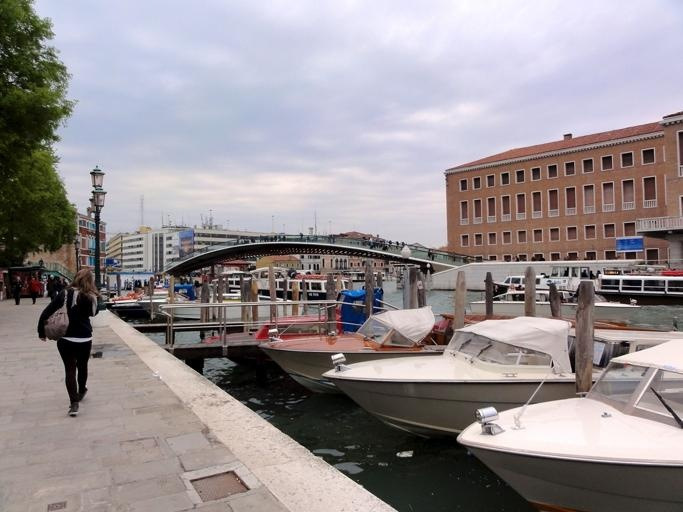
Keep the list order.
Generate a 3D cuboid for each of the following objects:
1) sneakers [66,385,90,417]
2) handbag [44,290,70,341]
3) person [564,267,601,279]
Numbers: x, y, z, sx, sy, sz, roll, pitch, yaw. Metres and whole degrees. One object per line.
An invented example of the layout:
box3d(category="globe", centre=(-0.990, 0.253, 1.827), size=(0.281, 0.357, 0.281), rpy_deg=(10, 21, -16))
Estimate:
box3d(category="sneakers", centre=(-3.821, 2.073, 8.589), size=(0.144, 0.422, 0.187), rpy_deg=(26, -52, -11))
box3d(category="handbag", centre=(-4.021, 0.873, 8.459), size=(0.320, 0.716, 0.295), rpy_deg=(-2, 9, -23))
box3d(category="person", centre=(15.303, 1.108, 38.119), size=(1.418, 0.341, 1.173), rpy_deg=(0, 4, -7))
